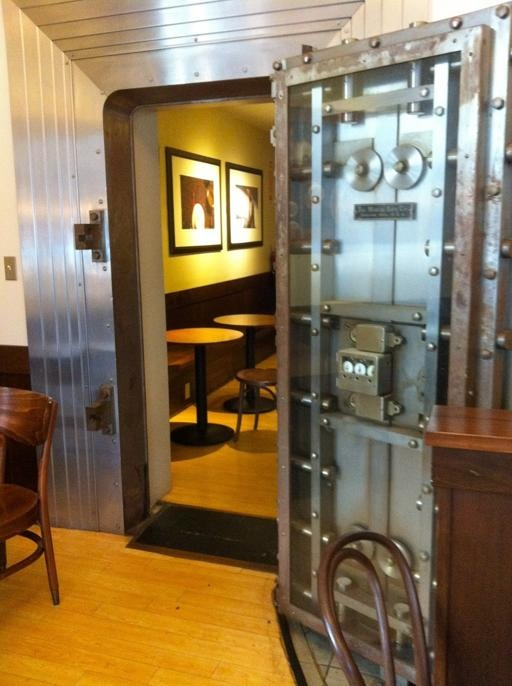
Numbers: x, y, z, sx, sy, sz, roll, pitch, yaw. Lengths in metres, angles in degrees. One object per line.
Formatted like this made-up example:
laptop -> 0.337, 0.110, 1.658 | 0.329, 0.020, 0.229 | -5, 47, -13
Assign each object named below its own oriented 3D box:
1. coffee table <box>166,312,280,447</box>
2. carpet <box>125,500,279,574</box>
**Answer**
coffee table -> -0.282, 0.272, 4.344 | 0.668, 0.773, 0.913 | 2, 9, 13
carpet -> -0.201, 0.896, 2.741 | 0.767, 0.017, 0.480 | 3, 9, 20
